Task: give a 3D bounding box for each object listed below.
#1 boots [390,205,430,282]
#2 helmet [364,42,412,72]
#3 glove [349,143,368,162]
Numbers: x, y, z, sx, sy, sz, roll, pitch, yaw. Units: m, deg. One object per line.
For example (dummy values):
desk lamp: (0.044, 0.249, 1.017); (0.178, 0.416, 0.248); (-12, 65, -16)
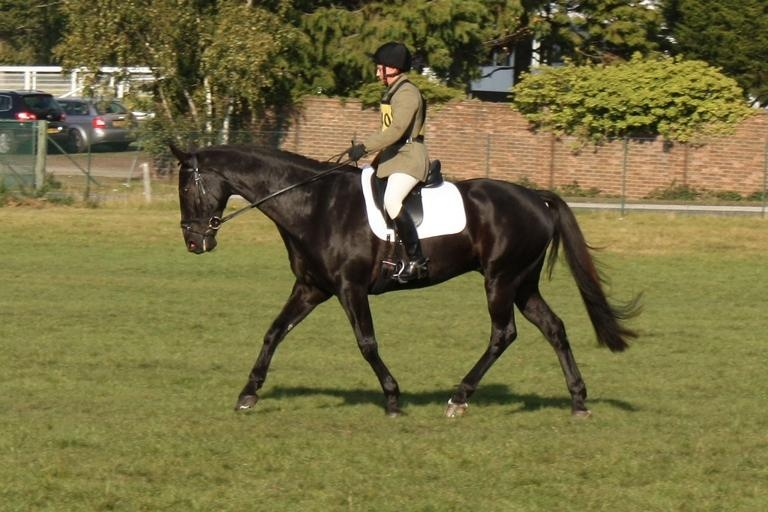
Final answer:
boots: (0.389, -0.156, 18.353); (0.503, 1.098, 0.209); (0, 11, -1)
helmet: (0.086, -2.984, 18.554); (0.609, 0.291, 0.415); (16, 12, 4)
glove: (-0.403, -1.526, 18.319); (0.276, 0.253, 0.283); (-1, 9, -2)
